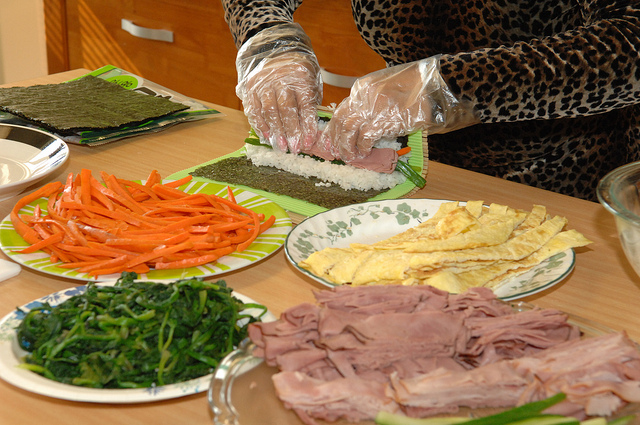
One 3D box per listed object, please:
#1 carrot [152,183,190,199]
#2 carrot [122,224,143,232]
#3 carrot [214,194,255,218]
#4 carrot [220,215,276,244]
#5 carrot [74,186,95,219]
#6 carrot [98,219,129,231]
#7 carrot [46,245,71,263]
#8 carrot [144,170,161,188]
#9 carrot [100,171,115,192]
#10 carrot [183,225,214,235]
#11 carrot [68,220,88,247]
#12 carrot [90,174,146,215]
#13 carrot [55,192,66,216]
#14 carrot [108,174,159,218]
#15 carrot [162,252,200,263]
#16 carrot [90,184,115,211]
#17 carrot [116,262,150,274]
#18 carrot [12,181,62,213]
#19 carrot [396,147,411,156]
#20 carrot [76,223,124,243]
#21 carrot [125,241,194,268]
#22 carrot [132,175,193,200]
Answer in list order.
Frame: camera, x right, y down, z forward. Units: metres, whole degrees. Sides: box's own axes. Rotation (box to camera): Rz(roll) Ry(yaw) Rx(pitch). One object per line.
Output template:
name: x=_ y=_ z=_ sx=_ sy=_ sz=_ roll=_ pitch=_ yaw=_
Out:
carrot: x=-0.393 y=-0.056 z=1.326 sx=0.069 sy=0.016 sz=0.018 roll=23 pitch=30 yaw=-6
carrot: x=-0.438 y=0.037 z=1.185 sx=0.024 sy=0.005 sz=0.020 roll=3 pitch=37 yaw=2
carrot: x=-0.219 y=-0.014 z=1.289 sx=0.099 sy=0.017 sz=0.013 roll=27 pitch=72 yaw=8
carrot: x=-0.161 y=0.046 z=1.208 sx=0.083 sy=0.018 sz=0.060 roll=-30 pitch=24 yaw=-2
carrot: x=-0.567 y=-0.022 z=1.219 sx=0.018 sy=0.064 sz=0.072 roll=24 pitch=-2 yaw=-42
carrot: x=-0.488 y=0.028 z=1.183 sx=0.039 sy=0.006 sz=0.034 roll=28 pitch=41 yaw=25
carrot: x=-0.567 y=0.093 z=1.106 sx=0.070 sy=0.016 sz=0.013 roll=30 pitch=84 yaw=22
carrot: x=-0.437 y=-0.087 z=1.331 sx=0.015 sy=0.032 sz=0.043 roll=10 pitch=65 yaw=37
carrot: x=-0.552 y=-0.086 z=1.298 sx=0.025 sy=0.023 sz=0.089 roll=14 pitch=28 yaw=-42
carrot: x=-0.282 y=0.041 z=1.172 sx=0.046 sy=0.011 sz=0.010 roll=10 pitch=35 yaw=3
carrot: x=-0.545 y=0.050 z=1.139 sx=0.021 sy=0.013 sz=0.077 roll=-37 pitch=53 yaw=-7
carrot: x=-0.499 y=-0.040 z=1.249 sx=0.152 sy=0.020 sz=0.035 roll=33 pitch=45 yaw=3
carrot: x=-0.629 y=-0.019 z=1.229 sx=0.019 sy=0.008 sz=0.073 roll=-12 pitch=39 yaw=3
carrot: x=-0.461 y=-0.036 z=1.256 sx=0.173 sy=0.024 sz=0.026 roll=33 pitch=87 yaw=14
carrot: x=-0.305 y=0.097 z=1.113 sx=0.037 sy=0.010 sz=0.034 roll=-2 pitch=19 yaw=15
carrot: x=-0.531 y=-0.034 z=1.233 sx=0.095 sy=0.024 sz=0.024 roll=32 pitch=31 yaw=26
carrot: x=-0.385 y=0.120 z=1.081 sx=0.035 sy=0.007 sz=0.026 roll=8 pitch=35 yaw=11
carrot: x=-0.718 y=-0.037 z=1.288 sx=0.115 sy=0.030 sz=0.030 roll=-38 pitch=17 yaw=-20
carrot: x=0.264 y=-0.193 z=1.597 sx=0.070 sy=0.015 sz=0.019 roll=-25 pitch=40 yaw=-33
carrot: x=-0.500 y=0.048 z=1.148 sx=0.088 sy=0.021 sz=0.012 roll=20 pitch=19 yaw=2
carrot: x=-0.345 y=0.088 z=1.089 sx=0.164 sy=0.026 sz=0.042 roll=-20 pitch=24 yaw=-24
carrot: x=-0.412 y=-0.070 z=1.355 sx=0.045 sy=0.023 sz=0.163 roll=-3 pitch=17 yaw=45
